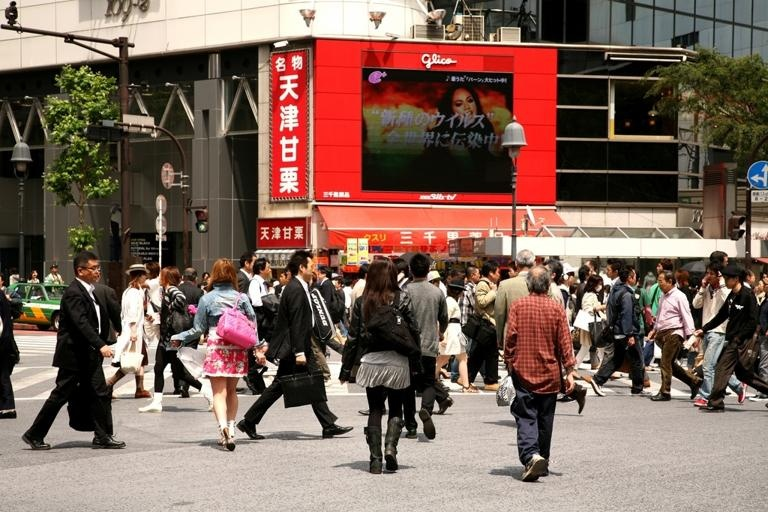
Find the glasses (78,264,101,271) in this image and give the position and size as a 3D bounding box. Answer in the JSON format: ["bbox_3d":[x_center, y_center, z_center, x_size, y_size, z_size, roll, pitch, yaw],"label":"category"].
[{"bbox_3d":[-5.162,0.204,20.472,0.161,0.110,0.424,1,3,37],"label":"glasses"}]

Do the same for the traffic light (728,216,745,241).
[{"bbox_3d":[11.483,-0.913,37.821,0.483,0.783,1.356,0,2,18],"label":"traffic light"}]

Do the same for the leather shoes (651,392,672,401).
[{"bbox_3d":[5.889,3.019,24.793,0.464,0.182,0.164,4,-2,0],"label":"leather shoes"}]

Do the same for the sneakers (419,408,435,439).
[{"bbox_3d":[0.717,2.966,20.226,0.219,0.581,0.252,-19,-7,16],"label":"sneakers"}]

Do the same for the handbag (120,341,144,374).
[{"bbox_3d":[-5.181,2.081,23.794,0.656,0.774,0.278,2,-25,-6],"label":"handbag"}]

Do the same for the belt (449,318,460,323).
[{"bbox_3d":[1.524,1.438,25.338,0.170,0.039,0.162,9,21,31],"label":"belt"}]

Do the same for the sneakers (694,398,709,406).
[{"bbox_3d":[6.552,3.074,24.121,0.316,0.135,0.114,8,-10,-43],"label":"sneakers"}]

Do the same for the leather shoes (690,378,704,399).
[{"bbox_3d":[6.654,2.845,24.848,0.216,0.503,0.171,4,27,-35],"label":"leather shoes"}]

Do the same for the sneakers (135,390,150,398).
[{"bbox_3d":[-5.222,2.989,24.909,0.381,0.155,0.137,-3,2,-4],"label":"sneakers"}]

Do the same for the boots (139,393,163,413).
[{"bbox_3d":[-4.589,3.025,23.433,0.572,0.462,0.253,3,-5,6],"label":"boots"}]

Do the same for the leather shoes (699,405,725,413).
[{"bbox_3d":[6.614,3.116,23.541,0.467,0.197,0.158,6,6,3],"label":"leather shoes"}]

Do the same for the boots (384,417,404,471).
[{"bbox_3d":[0.134,3.127,19.250,0.279,0.873,0.594,0,2,5],"label":"boots"}]

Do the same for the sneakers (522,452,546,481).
[{"bbox_3d":[2.446,3.440,18.766,0.243,0.258,0.552,17,-51,-7],"label":"sneakers"}]

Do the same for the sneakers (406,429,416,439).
[{"bbox_3d":[0.494,3.263,21.228,0.185,0.147,0.242,0,2,-3],"label":"sneakers"}]

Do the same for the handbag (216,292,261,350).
[{"bbox_3d":[-2.606,1.180,20.493,0.833,1.101,0.384,27,-25,-26],"label":"handbag"}]

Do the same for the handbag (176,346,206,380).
[{"bbox_3d":[-3.374,1.917,20.776,0.693,0.588,0.386,2,3,44],"label":"handbag"}]

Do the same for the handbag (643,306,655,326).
[{"bbox_3d":[6.630,1.541,29.153,0.140,0.382,0.288,-7,-5,16],"label":"handbag"}]

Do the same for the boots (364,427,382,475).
[{"bbox_3d":[-0.171,3.211,19.182,0.281,0.755,0.346,0,2,-1],"label":"boots"}]

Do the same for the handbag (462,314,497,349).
[{"bbox_3d":[2.081,1.638,25.259,0.672,0.624,0.284,22,-33,-9],"label":"handbag"}]

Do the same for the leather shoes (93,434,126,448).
[{"bbox_3d":[-4.808,3.277,20.363,0.584,0.242,0.221,1,-2,2],"label":"leather shoes"}]

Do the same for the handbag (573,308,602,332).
[{"bbox_3d":[4.659,1.493,26.553,0.554,0.504,0.184,4,-21,-14],"label":"handbag"}]

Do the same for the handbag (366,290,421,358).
[{"bbox_3d":[0.109,1.170,19.365,0.926,0.896,0.501,10,-27,-21],"label":"handbag"}]

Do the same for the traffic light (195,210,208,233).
[{"bbox_3d":[-6.348,-1.240,40.289,0.352,0.766,0.628,0,2,-1],"label":"traffic light"}]

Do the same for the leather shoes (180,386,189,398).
[{"bbox_3d":[-4.329,2.996,25.267,0.117,0.134,0.312,-3,-40,0],"label":"leather shoes"}]
